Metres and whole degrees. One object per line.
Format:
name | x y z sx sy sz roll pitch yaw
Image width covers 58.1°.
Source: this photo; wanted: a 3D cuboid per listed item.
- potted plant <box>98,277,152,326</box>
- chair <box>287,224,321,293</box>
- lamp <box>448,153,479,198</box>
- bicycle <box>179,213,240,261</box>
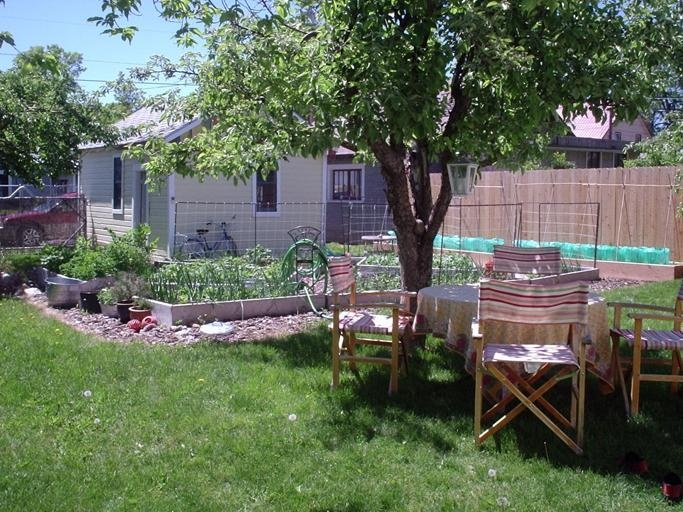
potted plant | -3.319 0.608 9.418 0.623 0.950 0.821 1 2 31
chair | -0.732 0.151 12.045 0.647 1.530 0.521 -4 18 -12
lamp | 1.465 -0.965 7.459 0.389 0.514 0.456 1 -1 -3
bicycle | -2.982 -0.307 14.033 1.335 1.021 0.679 -3 7 -15
